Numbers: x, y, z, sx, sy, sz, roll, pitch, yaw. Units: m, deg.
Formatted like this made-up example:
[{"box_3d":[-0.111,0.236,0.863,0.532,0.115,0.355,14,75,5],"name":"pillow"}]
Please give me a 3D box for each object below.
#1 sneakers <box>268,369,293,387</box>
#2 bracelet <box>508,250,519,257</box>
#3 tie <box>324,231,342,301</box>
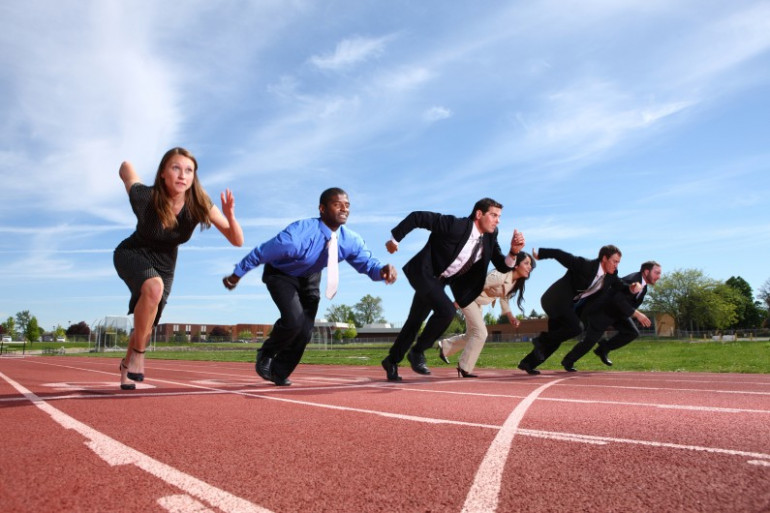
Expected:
[{"box_3d":[-1.546,1.840,6.766,0.436,0.184,0.147,17,-2,-17],"name":"sneakers"},{"box_3d":[2.109,-0.029,7.547,0.152,0.069,0.178,-2,-7,-1],"name":"bracelet"},{"box_3d":[-0.704,0.114,6.265,0.134,0.936,0.287,-4,-7,26],"name":"tie"}]
